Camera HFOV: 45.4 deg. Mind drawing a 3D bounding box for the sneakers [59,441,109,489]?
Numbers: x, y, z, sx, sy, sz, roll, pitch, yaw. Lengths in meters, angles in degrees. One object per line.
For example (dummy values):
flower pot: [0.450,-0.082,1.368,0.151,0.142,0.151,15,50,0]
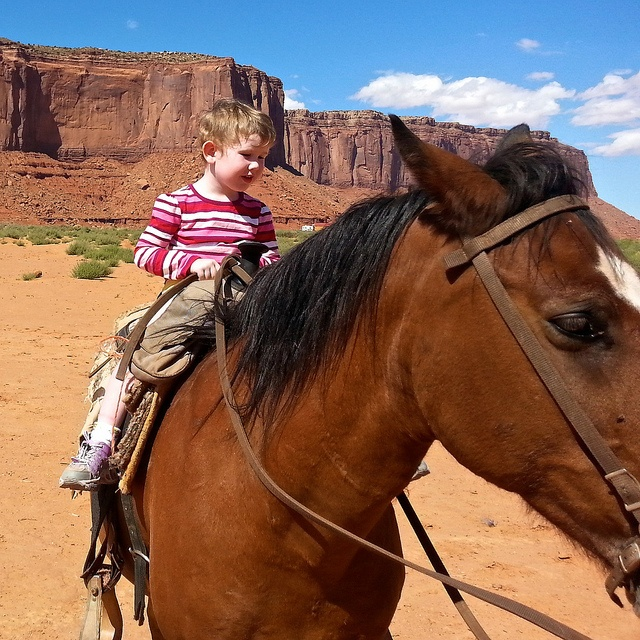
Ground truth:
sneakers: [-0.939,0.599,3.074,0.137,0.135,0.309,9,-5,1]
